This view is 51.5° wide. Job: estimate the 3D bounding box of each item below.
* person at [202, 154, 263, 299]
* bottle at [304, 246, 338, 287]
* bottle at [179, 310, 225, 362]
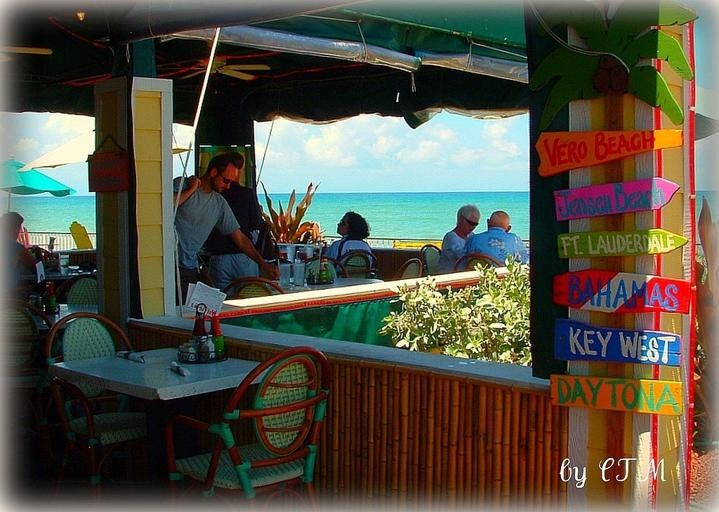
[{"bbox_3d":[-1.170,-0.186,7.253,0.544,1.857,0.484,-13,42,-15],"label":"person"},{"bbox_3d":[-0.339,0.135,6.554,0.261,0.261,0.236,1,-3,-16],"label":"bottle"},{"bbox_3d":[-0.865,0.438,4.146,0.264,0.288,0.261,2,-1,-14],"label":"bottle"}]
